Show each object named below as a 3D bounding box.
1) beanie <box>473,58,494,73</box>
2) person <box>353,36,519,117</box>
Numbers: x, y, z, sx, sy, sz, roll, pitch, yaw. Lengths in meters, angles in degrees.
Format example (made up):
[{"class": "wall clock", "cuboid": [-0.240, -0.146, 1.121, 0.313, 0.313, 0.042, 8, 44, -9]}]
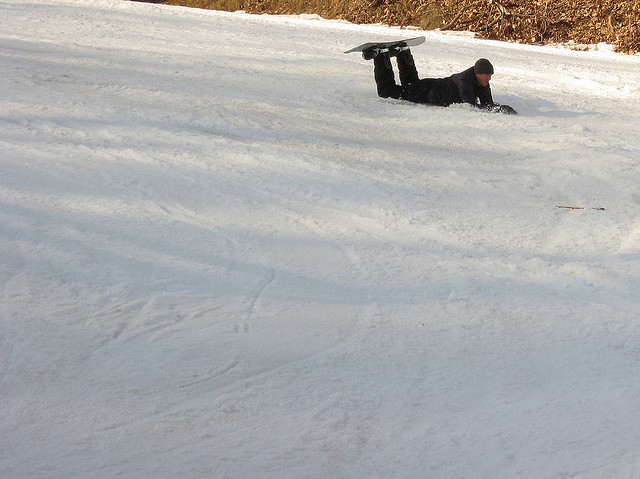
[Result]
[{"class": "beanie", "cuboid": [2.142, -2.248, 9.170, 0.292, 0.140, 0.235, -16, 22, -18]}, {"class": "person", "cuboid": [1.576, -2.241, 9.638, 1.136, 0.792, 2.187, -12, 25, -28]}]
